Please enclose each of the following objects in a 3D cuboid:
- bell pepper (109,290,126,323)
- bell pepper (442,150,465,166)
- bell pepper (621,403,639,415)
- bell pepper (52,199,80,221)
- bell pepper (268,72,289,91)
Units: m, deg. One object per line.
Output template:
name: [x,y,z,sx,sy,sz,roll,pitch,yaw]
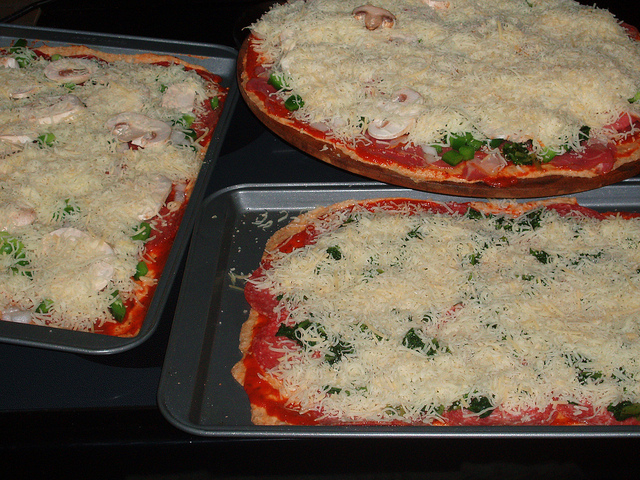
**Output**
bell pepper: [-1.080,0.354,3.188,0.072,0.035,0.171,-14,70,-7]
bell pepper: [0.771,-0.483,3.513,0.102,0.043,0.104,-40,56,-22]
bell pepper: [1.486,0.814,2.873,0.091,0.028,0.048,-7,63,-4]
bell pepper: [-1.454,-0.168,3.376,0.147,0.026,0.097,-40,68,-20]
bell pepper: [-0.285,-1.025,3.913,0.125,0.073,0.108,-1,51,-26]
